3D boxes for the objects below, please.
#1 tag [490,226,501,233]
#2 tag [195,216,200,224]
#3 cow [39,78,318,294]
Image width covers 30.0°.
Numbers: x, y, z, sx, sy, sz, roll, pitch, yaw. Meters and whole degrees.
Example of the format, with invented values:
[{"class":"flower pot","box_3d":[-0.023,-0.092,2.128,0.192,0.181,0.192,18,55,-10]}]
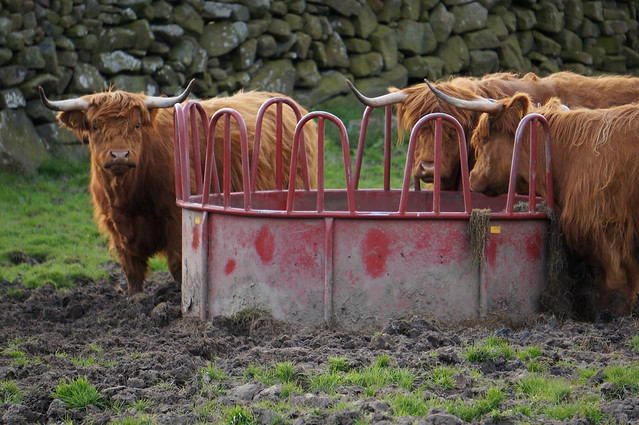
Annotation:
[{"class":"tag","box_3d":[1.995,0.176,13.475,0.071,0.067,0.076,0,-2,1]},{"class":"tag","box_3d":[-1.423,0.069,13.789,0.064,0.077,0.016,2,4,41]},{"class":"cow","box_3d":[-1.724,-0.327,15.652,1.317,3.076,5.320,5,6,25]}]
